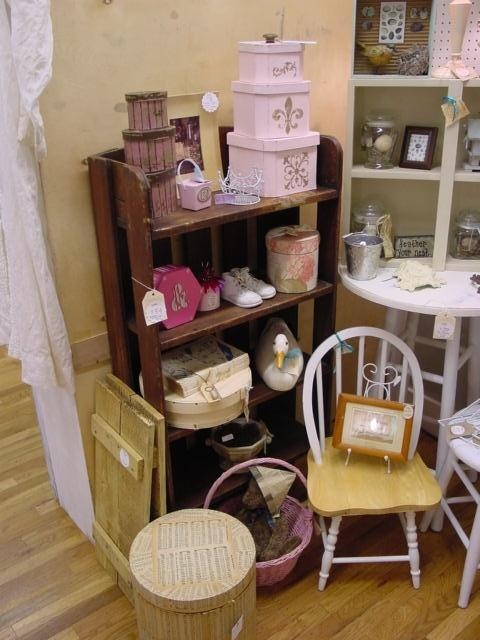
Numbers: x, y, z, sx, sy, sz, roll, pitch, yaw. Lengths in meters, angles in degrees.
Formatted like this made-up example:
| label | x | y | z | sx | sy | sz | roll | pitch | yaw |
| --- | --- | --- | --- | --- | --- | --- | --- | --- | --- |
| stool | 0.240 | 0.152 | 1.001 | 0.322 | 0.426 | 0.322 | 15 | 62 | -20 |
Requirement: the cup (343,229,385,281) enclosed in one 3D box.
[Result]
| label | x | y | z | sx | sy | sz | roll | pitch | yaw |
| --- | --- | --- | --- | --- | --- | --- | --- | --- | --- |
| cup | 0.408 | -0.218 | 1.834 | 0.145 | 0.153 | 0.141 | -4 | 33 | 3 |

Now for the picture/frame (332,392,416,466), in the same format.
| label | x | y | z | sx | sy | sz | roll | pitch | yaw |
| --- | --- | --- | --- | --- | --- | --- | --- | --- | --- |
| picture/frame | 0.417 | 0.348 | 1.631 | 0.194 | 0.174 | 0.033 | 10 | -7 | 11 |

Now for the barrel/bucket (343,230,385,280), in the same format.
| label | x | y | z | sx | sy | sz | roll | pitch | yaw |
| --- | --- | --- | --- | --- | --- | --- | --- | --- | --- |
| barrel/bucket | 0.417 | -0.215 | 1.797 | 0.134 | 0.144 | 0.150 | 6 | 24 | 19 |

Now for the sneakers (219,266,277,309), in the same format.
| label | x | y | z | sx | sy | sz | roll | pitch | yaw |
| --- | --- | --- | --- | --- | --- | --- | --- | --- | --- |
| sneakers | 0.020 | -0.098 | 1.604 | 0.146 | 0.069 | 0.110 | 20 | 39 | 27 |

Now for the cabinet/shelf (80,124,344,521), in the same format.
| label | x | y | z | sx | sy | sz | roll | pitch | yaw |
| --- | --- | --- | --- | --- | --- | --- | --- | --- | --- |
| cabinet/shelf | -0.053 | 0.017 | 1.695 | 0.794 | 1.128 | 0.388 | -21 | 30 | -40 |

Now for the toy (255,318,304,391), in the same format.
| label | x | y | z | sx | sy | sz | roll | pitch | yaw |
| --- | --- | --- | --- | --- | --- | --- | --- | --- | --- |
| toy | 0.127 | 0.090 | 1.726 | 0.133 | 0.176 | 0.246 | -1 | 60 | 5 |

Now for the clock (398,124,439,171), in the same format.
| label | x | y | z | sx | sy | sz | roll | pitch | yaw |
| --- | --- | --- | --- | --- | --- | --- | --- | --- | --- |
| clock | 0.616 | -0.595 | 1.806 | 0.148 | 0.197 | 0.015 | 19 | 4 | 40 |

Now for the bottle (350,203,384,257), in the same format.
| label | x | y | z | sx | sy | sz | roll | pitch | yaw |
| --- | --- | --- | --- | --- | --- | --- | --- | --- | --- |
| bottle | 0.449 | -0.321 | 1.918 | 0.110 | 0.174 | 0.122 | -6 | 22 | -4 |

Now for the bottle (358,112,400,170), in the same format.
| label | x | y | z | sx | sy | sz | roll | pitch | yaw |
| --- | --- | --- | --- | --- | --- | --- | --- | --- | --- |
| bottle | 0.479 | -0.620 | 1.826 | 0.122 | 0.167 | 0.105 | 7 | 23 | 17 |

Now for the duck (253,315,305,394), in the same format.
| label | x | y | z | sx | sy | sz | roll | pitch | yaw |
| --- | --- | --- | --- | --- | --- | --- | --- | --- | --- |
| duck | 0.126 | 0.099 | 1.731 | 0.132 | 0.178 | 0.249 | -1 | 59 | 4 |
